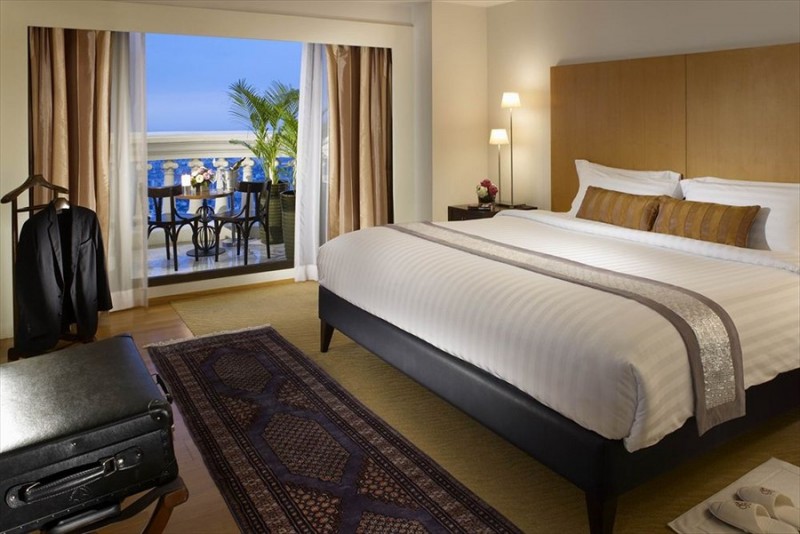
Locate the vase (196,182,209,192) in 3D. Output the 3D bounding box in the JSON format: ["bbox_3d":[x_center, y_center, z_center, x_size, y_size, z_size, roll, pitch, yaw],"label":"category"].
[{"bbox_3d":[-2.294,-0.939,6.467,0.115,0.086,0.116,3,7,20],"label":"vase"}]

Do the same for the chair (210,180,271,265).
[{"bbox_3d":[-1.895,-0.594,6.703,0.749,0.924,1.208,-5,16,-12],"label":"chair"}]

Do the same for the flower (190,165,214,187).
[{"bbox_3d":[-2.332,-1.062,6.518,0.302,0.269,0.302,-11,16,-18],"label":"flower"}]

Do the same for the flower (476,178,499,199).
[{"bbox_3d":[0.888,-0.812,5.918,0.247,0.255,0.252,0,1,-44],"label":"flower"}]

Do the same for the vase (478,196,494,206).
[{"bbox_3d":[0.885,-0.707,5.856,0.093,0.065,0.089,-2,5,-34],"label":"vase"}]

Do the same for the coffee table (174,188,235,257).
[{"bbox_3d":[-2.338,-0.528,6.690,0.680,0.729,0.676,-2,1,-30],"label":"coffee table"}]

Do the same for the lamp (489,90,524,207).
[{"bbox_3d":[1.139,-1.302,6.097,0.309,1.200,0.583,2,16,12],"label":"lamp"}]

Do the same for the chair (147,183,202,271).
[{"bbox_3d":[-2.637,-0.476,6.371,0.546,0.850,0.587,4,9,24],"label":"chair"}]
